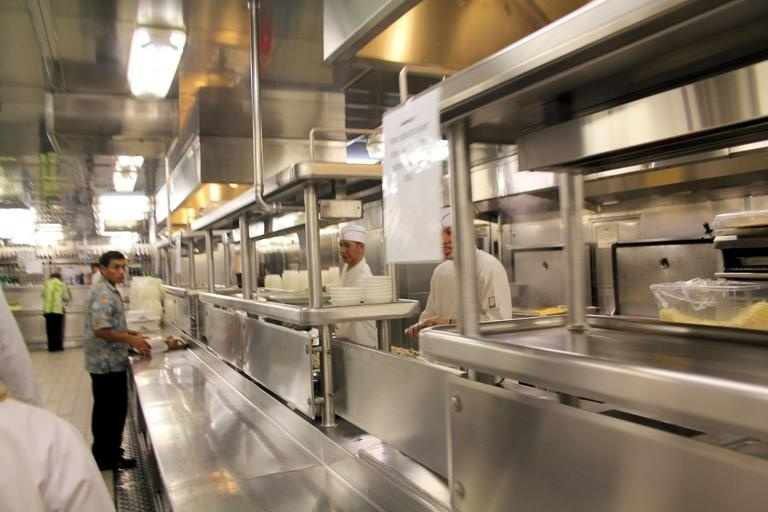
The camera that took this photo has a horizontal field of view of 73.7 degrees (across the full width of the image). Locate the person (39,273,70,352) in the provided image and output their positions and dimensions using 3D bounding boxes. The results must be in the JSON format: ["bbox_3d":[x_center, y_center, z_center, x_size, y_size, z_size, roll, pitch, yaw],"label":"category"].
[{"bbox_3d":[-6.578,1.127,10.268,0.569,1.474,0.613,-13,7,-33],"label":"person"}]

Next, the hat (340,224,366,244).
[{"bbox_3d":[-0.219,-0.160,3.576,0.150,0.102,0.141,3,-1,-41],"label":"hat"}]

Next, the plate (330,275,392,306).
[{"bbox_3d":[-0.108,0.171,2.540,0.233,0.088,0.159,-1,-3,10],"label":"plate"}]
